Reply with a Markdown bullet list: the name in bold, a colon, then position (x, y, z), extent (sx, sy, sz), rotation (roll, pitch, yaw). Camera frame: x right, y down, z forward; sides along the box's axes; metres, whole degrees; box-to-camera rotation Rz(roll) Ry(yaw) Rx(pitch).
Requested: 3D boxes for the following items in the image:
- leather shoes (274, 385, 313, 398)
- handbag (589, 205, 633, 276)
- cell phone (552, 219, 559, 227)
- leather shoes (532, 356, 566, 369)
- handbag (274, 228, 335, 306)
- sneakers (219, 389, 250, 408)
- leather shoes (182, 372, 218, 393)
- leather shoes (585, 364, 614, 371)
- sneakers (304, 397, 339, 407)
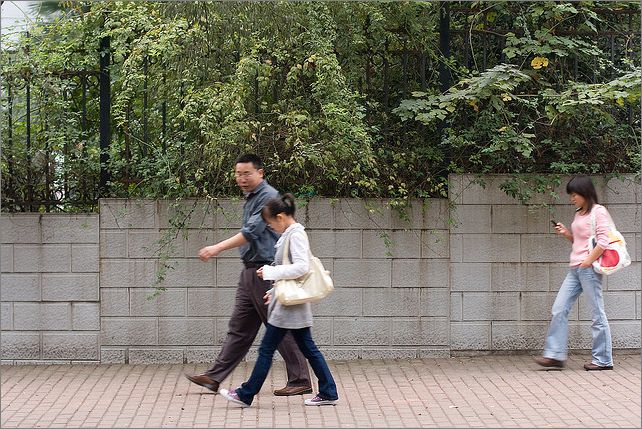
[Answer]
- **leather shoes**: position (-0.316, 2.026, 8.957), extent (0.466, 0.160, 0.148), rotation (2, -4, 2)
- **handbag**: position (3.616, 0.333, 9.644), extent (0.542, 0.880, 0.305), rotation (-4, 16, -12)
- **cell phone**: position (3.010, 0.119, 9.888), extent (0.061, 0.079, 0.224), rotation (-14, -24, 19)
- **leather shoes**: position (2.872, 1.850, 9.695), extent (0.368, 0.127, 0.134), rotation (7, -1, -2)
- **handbag**: position (-0.298, 0.587, 8.551), extent (0.754, 0.853, 0.345), rotation (-11, 13, -35)
- **sneakers**: position (-0.988, 2.047, 8.750), extent (0.418, 0.143, 0.140), rotation (23, -6, -11)
- **leather shoes**: position (-1.365, 1.946, 9.029), extent (0.458, 0.153, 0.157), rotation (22, -8, -4)
- **leather shoes**: position (3.476, 1.913, 9.665), extent (0.356, 0.105, 0.113), rotation (5, -4, -2)
- **sneakers**: position (0.007, 2.106, 8.819), extent (0.396, 0.129, 0.132), rotation (3, -3, -2)
